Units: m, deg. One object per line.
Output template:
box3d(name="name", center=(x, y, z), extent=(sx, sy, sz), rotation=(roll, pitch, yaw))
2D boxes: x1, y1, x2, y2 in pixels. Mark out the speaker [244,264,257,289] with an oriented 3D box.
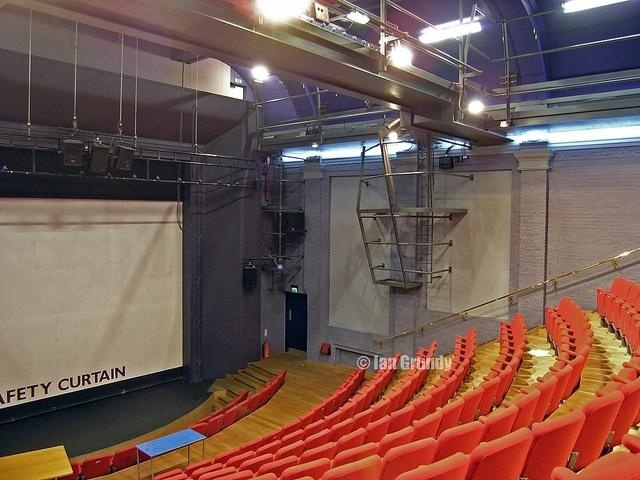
box3d(name="speaker", center=(-1.566, 0.833, 11.456), extent=(0.348, 0.571, 0.170), rotation=(-6, 6, -25))
